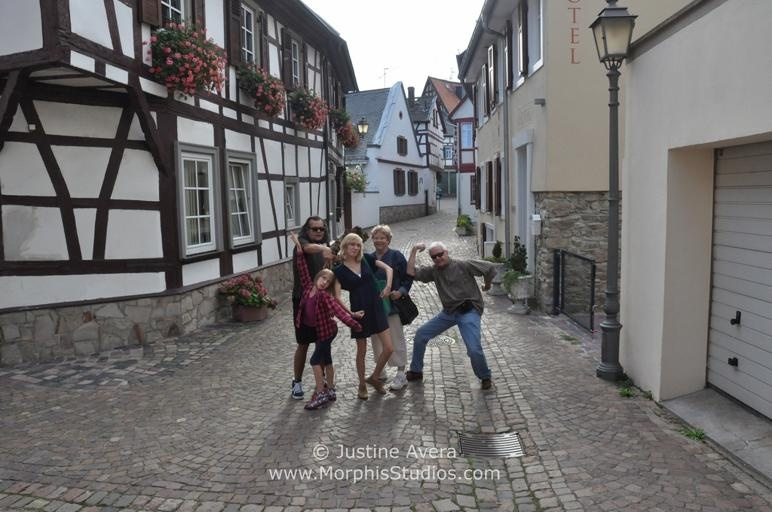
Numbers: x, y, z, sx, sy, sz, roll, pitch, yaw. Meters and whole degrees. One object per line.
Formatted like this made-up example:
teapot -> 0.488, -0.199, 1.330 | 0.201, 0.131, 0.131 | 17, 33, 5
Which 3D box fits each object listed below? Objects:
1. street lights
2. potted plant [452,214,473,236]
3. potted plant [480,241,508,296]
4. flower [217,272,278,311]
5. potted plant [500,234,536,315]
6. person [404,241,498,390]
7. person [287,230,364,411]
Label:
street lights -> 3.115, -0.904, 6.975 | 0.558, 5.259, 0.730 | 2, 8, 19
potted plant -> 4.227, -1.687, 27.016 | 0.831, 0.663, 1.136 | 1, 5, -5
potted plant -> 2.896, 0.306, 12.822 | 0.688, 1.346, 0.679 | -2, -1, 34
flower -> -2.952, 0.749, 10.453 | 1.036, 0.512, 1.118 | -8, 17, -28
potted plant -> 2.927, 0.411, 11.128 | 0.694, 1.661, 0.677 | 5, -8, -37
person -> 1.047, 1.046, 8.014 | 1.016, 2.190, 1.255 | 21, -29, -41
person -> -0.779, 0.908, 6.432 | 0.951, 2.081, 0.531 | 1, 8, 11
